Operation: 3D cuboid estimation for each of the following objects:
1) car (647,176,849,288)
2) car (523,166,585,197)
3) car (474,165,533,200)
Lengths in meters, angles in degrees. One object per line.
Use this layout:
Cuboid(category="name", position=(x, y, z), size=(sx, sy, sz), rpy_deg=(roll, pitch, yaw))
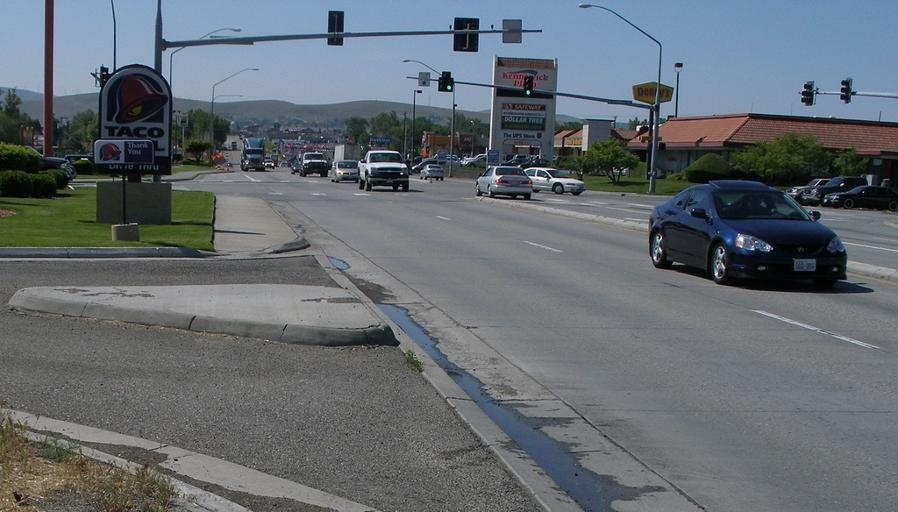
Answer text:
Cuboid(category="car", position=(6.461, -0.426, 17.831), size=(2.146, 2.150, 3.701), rpy_deg=(-2, 13, -21))
Cuboid(category="car", position=(7.626, -5.308, 57.148), size=(2.141, 1.705, 5.239), rpy_deg=(-2, 5, -30))
Cuboid(category="car", position=(3.078, -4.275, 46.554), size=(2.570, 1.896, 2.734), rpy_deg=(-2, 13, -22))
